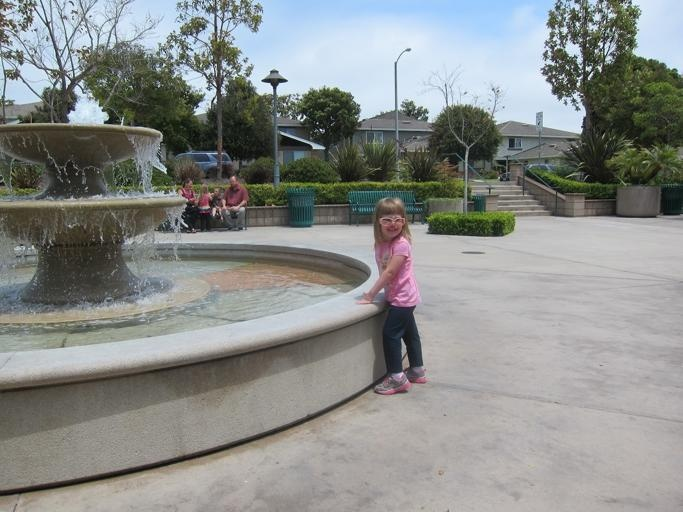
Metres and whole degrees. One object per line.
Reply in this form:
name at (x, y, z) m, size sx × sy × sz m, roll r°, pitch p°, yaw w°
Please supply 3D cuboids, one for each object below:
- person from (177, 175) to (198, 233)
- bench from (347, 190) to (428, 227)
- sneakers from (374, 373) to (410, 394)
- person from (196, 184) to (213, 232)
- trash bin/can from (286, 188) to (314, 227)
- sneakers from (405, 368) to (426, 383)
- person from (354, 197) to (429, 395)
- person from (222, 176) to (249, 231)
person at (-4.756, -1.571, 16.953) m, size 0.727 × 1.625 × 0.655 m, roll 10°, pitch 19°, yaw 30°
bench at (1.613, -1.892, 20.838) m, size 2.719 × 1.333 × 0.983 m, roll 1°, pitch 6°, yaw 11°
sneakers at (0.415, 1.036, 4.487) m, size 0.313 × 0.163 × 0.126 m, roll -2°, pitch -1°, yaw -16°
person at (-4.384, -1.562, 17.453) m, size 0.417 × 1.411 × 0.723 m, roll -3°, pitch 10°, yaw -12°
trash bin/can at (-1.478, -1.747, 19.552) m, size 0.963 × 1.334 × 0.951 m, roll -4°, pitch 8°, yaw -28°
sneakers at (0.641, 0.992, 4.644) m, size 0.199 × 0.104 × 0.083 m, roll 7°, pitch 7°, yaw 29°
person at (0.442, 0.298, 4.508) m, size 0.538 × 1.542 × 0.551 m, roll 1°, pitch 9°, yaw 9°
person at (-3.430, -1.737, 17.490) m, size 0.859 × 1.779 × 0.981 m, roll -1°, pitch 3°, yaw -29°
